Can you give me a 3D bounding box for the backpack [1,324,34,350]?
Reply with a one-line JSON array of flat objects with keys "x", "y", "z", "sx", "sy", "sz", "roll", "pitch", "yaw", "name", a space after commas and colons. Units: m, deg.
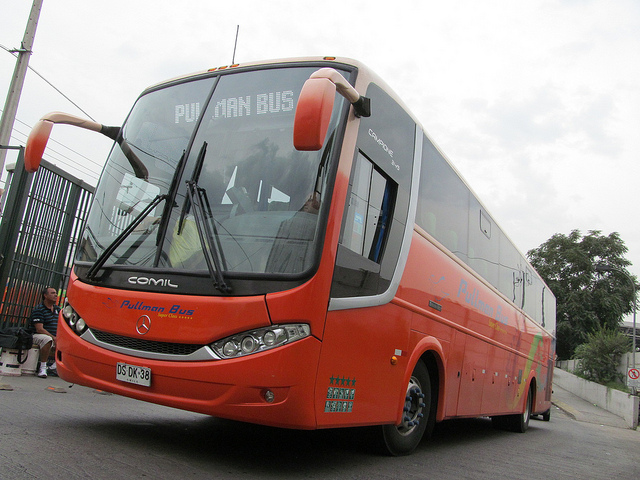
[{"x": -5.827, "y": 1.860, "z": 7.476, "sx": 0.450, "sy": 0.418, "sz": 0.593, "roll": 4, "pitch": -5, "yaw": 14, "name": "backpack"}]
